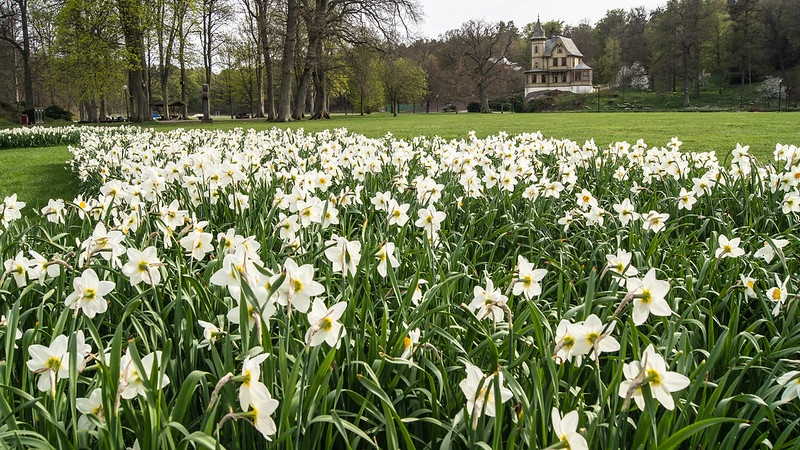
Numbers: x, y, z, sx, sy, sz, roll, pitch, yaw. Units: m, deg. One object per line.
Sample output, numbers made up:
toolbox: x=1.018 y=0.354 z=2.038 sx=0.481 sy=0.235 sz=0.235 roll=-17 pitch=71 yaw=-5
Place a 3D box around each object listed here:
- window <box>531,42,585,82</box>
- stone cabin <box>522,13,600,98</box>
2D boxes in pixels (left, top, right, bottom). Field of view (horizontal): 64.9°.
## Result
window: x=22.592 y=-23.499 z=90.566 sx=7.887 sy=6.795 sz=2.294 roll=0 pitch=8 yaw=13
stone cabin: x=23.148 y=-24.237 z=92.872 sx=9.544 sy=12.131 sz=7.459 roll=1 pitch=1 yaw=22
